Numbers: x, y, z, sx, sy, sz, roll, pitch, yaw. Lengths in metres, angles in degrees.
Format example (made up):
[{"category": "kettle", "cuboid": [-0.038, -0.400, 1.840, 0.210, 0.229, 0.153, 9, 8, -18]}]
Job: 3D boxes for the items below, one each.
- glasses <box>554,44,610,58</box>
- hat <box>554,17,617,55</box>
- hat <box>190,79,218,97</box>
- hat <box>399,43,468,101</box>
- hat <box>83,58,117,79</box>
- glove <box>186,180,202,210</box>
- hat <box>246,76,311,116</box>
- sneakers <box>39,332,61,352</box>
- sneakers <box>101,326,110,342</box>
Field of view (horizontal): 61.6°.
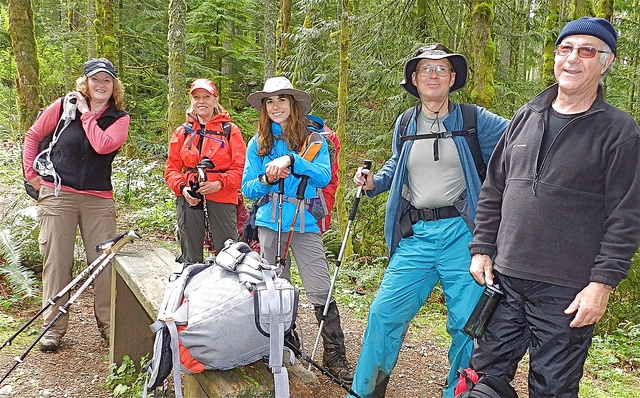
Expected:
[{"category": "glasses", "cuboid": [2.748, -1.536, 5.593, 0.513, 0.148, 0.148, 5, 10, 20]}, {"category": "hat", "cuboid": [2.807, -1.688, 5.627, 0.500, 0.248, 0.414, 23, -10, -22]}, {"category": "hat", "cuboid": [-1.727, -1.643, 7.900, 0.388, 0.257, 0.253, -1, 10, -14]}, {"category": "hat", "cuboid": [1.449, -1.637, 6.674, 0.751, 0.690, 0.347, 10, 48, -15]}, {"category": "hat", "cuboid": [-3.181, -1.891, 7.720, 0.409, 0.296, 0.452, -3, 10, -22]}, {"category": "glove", "cuboid": [-1.810, -0.049, 7.794, 0.202, 0.442, 0.192, -1, 10, -11]}, {"category": "hat", "cuboid": [-0.564, -1.293, 7.289, 0.617, 0.255, 0.635, 2, -22, -9]}, {"category": "sneakers", "cuboid": [-3.815, 2.016, 7.589, 0.293, 0.247, 0.181, -4, 11, -29]}, {"category": "sneakers", "cuboid": [-3.146, 1.979, 7.853, 0.174, 0.202, 0.182, 5, 6, -28]}]
